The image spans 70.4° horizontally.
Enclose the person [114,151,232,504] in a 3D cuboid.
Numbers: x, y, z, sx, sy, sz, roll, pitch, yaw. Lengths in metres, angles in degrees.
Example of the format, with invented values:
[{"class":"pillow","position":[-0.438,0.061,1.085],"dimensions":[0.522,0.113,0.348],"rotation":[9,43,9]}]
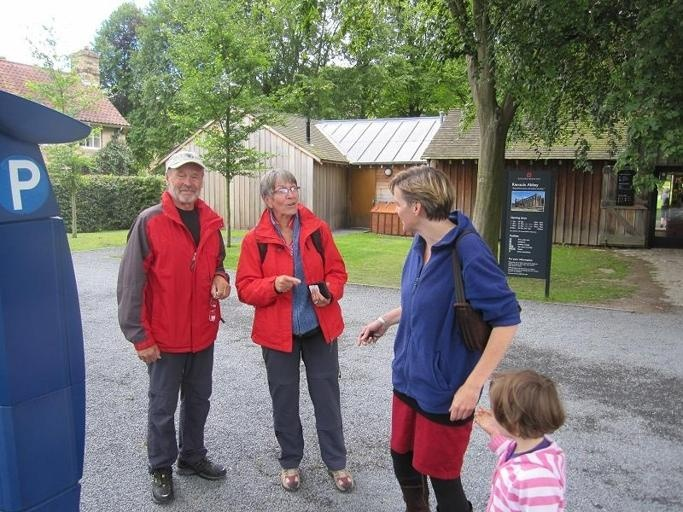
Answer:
[{"class":"person","position":[-1.279,0.503,3.812],"dimensions":[0.845,2.644,0.602],"rotation":[-5,9,-30]}]

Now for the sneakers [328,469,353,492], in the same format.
[{"class":"sneakers","position":[0.012,1.776,3.791],"dimensions":[0.156,0.116,0.122],"rotation":[-1,7,-2]}]

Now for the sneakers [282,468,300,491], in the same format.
[{"class":"sneakers","position":[-0.398,1.764,3.807],"dimensions":[0.153,0.124,0.156],"rotation":[-1,8,-7]}]

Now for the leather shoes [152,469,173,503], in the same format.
[{"class":"leather shoes","position":[-1.353,1.760,3.682],"dimensions":[0.096,0.137,0.287],"rotation":[3,-1,-20]}]

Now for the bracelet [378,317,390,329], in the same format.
[{"class":"bracelet","position":[0.282,0.460,3.334],"dimensions":[0.012,0.053,0.053],"rotation":[-29,38,-4]}]

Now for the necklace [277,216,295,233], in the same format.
[{"class":"necklace","position":[-0.454,-0.241,3.962],"dimensions":[0.103,0.123,0.143],"rotation":[0,-16,-13]}]

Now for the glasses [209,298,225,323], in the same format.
[{"class":"glasses","position":[-1.040,0.499,3.988],"dimensions":[0.068,0.266,0.236],"rotation":[5,8,-11]}]

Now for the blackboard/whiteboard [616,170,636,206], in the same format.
[{"class":"blackboard/whiteboard","position":[10.167,-2.462,17.427],"dimensions":[0.608,1.293,0.382],"rotation":[6,10,39]}]

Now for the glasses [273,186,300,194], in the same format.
[{"class":"glasses","position":[-0.426,-0.516,3.817],"dimensions":[0.212,0.068,0.119],"rotation":[-4,8,-28]}]

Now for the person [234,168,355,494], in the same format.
[{"class":"person","position":[-0.363,0.701,3.873],"dimensions":[0.885,2.230,0.554],"rotation":[0,7,0]}]
